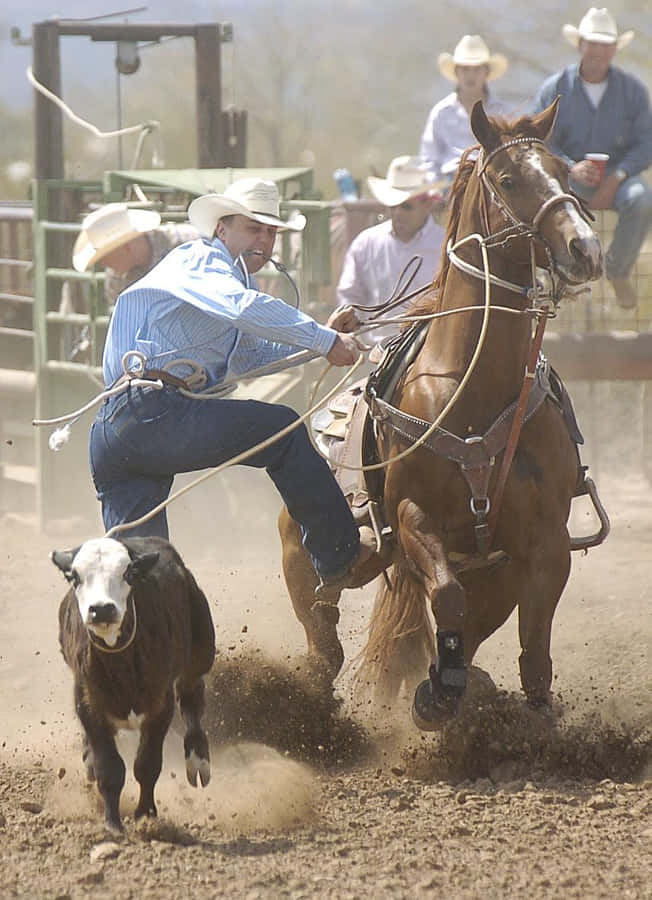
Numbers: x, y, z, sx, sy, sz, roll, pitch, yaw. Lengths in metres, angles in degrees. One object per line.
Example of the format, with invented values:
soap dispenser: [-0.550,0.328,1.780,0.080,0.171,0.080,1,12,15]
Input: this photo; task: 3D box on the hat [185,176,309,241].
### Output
hat: [-0.300,-0.900,4.302,0.334,0.128,0.327,-1,-6,34]

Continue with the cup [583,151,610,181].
cup: [1.700,-1.804,7.924,0.224,0.187,0.202,2,0,2]

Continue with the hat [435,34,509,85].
hat: [1.040,-2.803,8.844,0.511,0.195,0.544,1,-16,3]

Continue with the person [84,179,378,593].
person: [-0.296,-0.201,4.309,0.972,1.508,0.732,-2,8,-18]

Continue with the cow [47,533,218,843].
cow: [-0.610,0.736,3.859,0.417,0.986,0.857,1,7,3]

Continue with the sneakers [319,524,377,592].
sneakers: [0.109,0.444,4.882,0.214,0.092,0.267,-13,-26,-30]

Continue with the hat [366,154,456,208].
hat: [0.465,-1.644,7.456,0.420,0.198,0.487,5,5,9]
